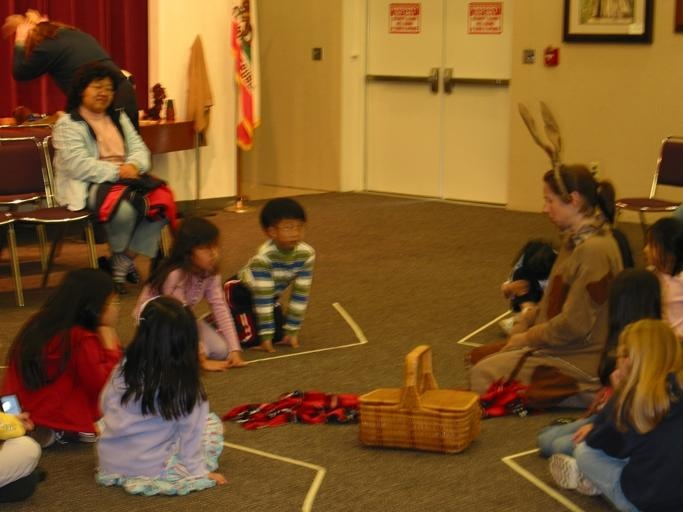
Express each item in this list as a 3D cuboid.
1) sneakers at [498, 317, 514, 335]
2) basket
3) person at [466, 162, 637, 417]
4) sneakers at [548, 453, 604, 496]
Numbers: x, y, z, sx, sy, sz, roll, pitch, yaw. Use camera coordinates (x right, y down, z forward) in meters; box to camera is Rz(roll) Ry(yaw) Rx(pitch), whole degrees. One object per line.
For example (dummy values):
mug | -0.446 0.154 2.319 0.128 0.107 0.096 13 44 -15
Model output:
sneakers | 0.999 0.428 3.374 0.114 0.102 0.100 -8 11 -40
basket | 0.319 0.560 2.205 0.407 0.347 0.414 -1 4 13
person | 0.954 0.126 2.695 0.705 1.056 0.726 1 13 -9
sneakers | 0.780 0.743 1.850 0.151 0.094 0.056 38 30 22
